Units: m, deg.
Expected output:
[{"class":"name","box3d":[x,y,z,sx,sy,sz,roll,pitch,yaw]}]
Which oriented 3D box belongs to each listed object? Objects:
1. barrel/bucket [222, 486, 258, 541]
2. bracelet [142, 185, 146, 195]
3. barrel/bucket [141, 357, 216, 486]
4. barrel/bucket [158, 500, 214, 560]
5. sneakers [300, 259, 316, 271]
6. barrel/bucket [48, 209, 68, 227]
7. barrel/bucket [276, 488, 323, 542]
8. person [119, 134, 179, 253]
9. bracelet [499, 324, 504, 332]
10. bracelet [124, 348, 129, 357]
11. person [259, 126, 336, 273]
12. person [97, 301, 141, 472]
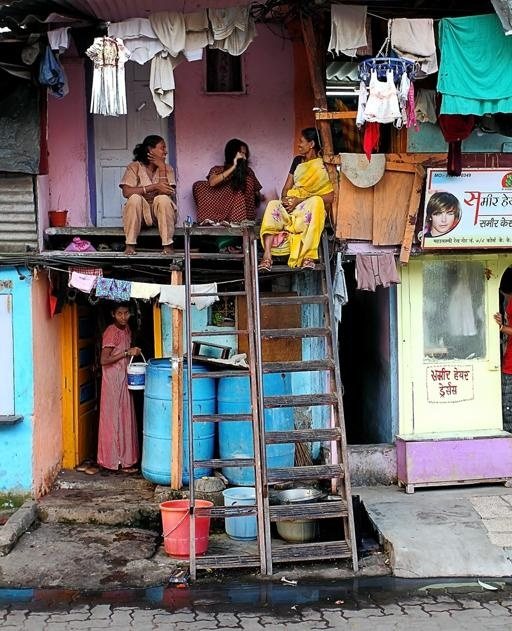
[{"class":"barrel/bucket","box3d":[-0.137,1.751,7.171,0.392,0.434,0.413,0,1,0]},{"class":"bracelet","box3d":[-1.076,-1.217,7.830,0.018,0.055,0.040,0,22,7]},{"class":"barrel/bucket","box3d":[-0.764,1.046,7.857,0.766,1.292,0.635,-2,10,-3]},{"class":"barrel/bucket","box3d":[-0.577,1.759,6.694,0.437,0.402,0.479,0,-11,0]},{"class":"sneakers","box3d":[0.469,-0.470,7.390,0.140,0.095,0.191,-1,11,3]},{"class":"barrel/bucket","box3d":[-1.942,-0.947,7.998,0.186,0.144,0.175,0,-6,0]},{"class":"barrel/bucket","box3d":[0.355,1.742,7.090,0.376,0.336,0.409,0,-4,0]},{"class":"person","box3d":[-1.041,-1.193,7.877,0.538,1.097,0.752,-3,11,-8]},{"class":"bracelet","box3d":[2.521,0.134,8.316,0.051,0.055,0.048,-5,12,1]},{"class":"bracelet","box3d":[-1.349,0.394,8.485,0.044,0.065,0.020,1,2,20]},{"class":"person","box3d":[0.386,-1.115,7.600,0.648,1.267,0.830,2,11,18]},{"class":"person","box3d":[-1.452,0.850,8.513,0.500,1.556,0.494,-5,11,-20]}]
